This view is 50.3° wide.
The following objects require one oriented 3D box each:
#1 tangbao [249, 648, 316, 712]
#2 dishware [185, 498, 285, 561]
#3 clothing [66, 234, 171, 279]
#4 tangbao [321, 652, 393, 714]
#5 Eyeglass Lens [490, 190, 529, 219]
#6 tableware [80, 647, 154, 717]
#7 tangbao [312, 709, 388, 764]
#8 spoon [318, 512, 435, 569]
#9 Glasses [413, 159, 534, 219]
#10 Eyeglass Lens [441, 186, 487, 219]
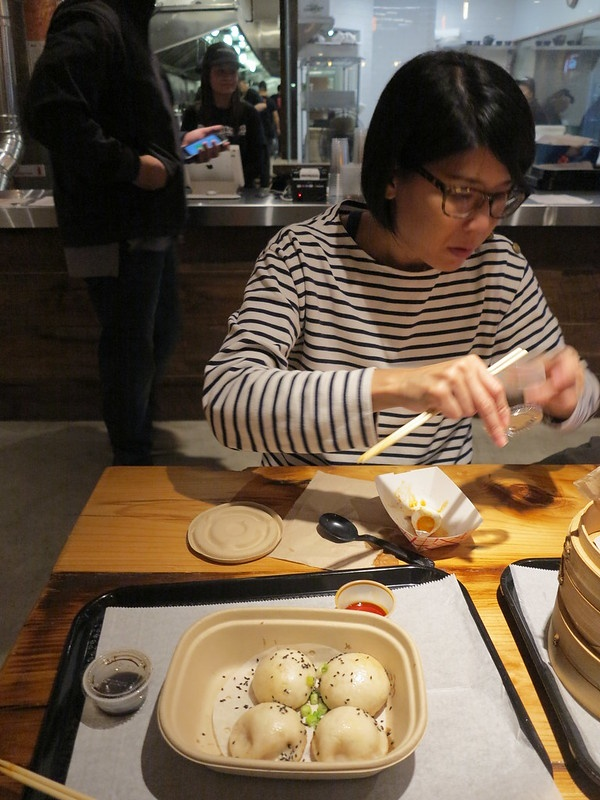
[{"bbox_3d":[-0.019,0.294,0.708,0.058,0.036,0.067,21,34,21],"label":"tangbao"},{"bbox_3d":[-0.098,0.200,0.979,0.143,0.010,0.154,0,23,-1],"label":"dishware"},{"bbox_3d":[-0.351,-0.275,1.205,0.131,0.033,0.125,-4,5,-2],"label":"clothing"},{"bbox_3d":[0.060,0.300,0.678,0.062,0.032,0.061,11,37,23],"label":"tangbao"},{"bbox_3d":[0.349,-0.333,1.092,0.061,0.020,0.060,-13,61,-29],"label":"Eyeglass Lens"},{"bbox_3d":[-0.191,0.300,0.685,0.069,0.023,0.064,-2,30,3],"label":"tableware"},{"bbox_3d":[0.051,0.334,0.633,0.074,0.028,0.056,3,24,5],"label":"tangbao"},{"bbox_3d":[0.111,0.210,0.950,0.199,0.019,0.058,15,27,30],"label":"spoon"},{"bbox_3d":[0.301,-0.328,1.038,0.117,0.035,0.112,-3,46,-31],"label":"Glasses"},{"bbox_3d":[0.268,-0.324,1.049,0.079,0.052,0.028,5,25,9],"label":"Eyeglass Lens"}]
